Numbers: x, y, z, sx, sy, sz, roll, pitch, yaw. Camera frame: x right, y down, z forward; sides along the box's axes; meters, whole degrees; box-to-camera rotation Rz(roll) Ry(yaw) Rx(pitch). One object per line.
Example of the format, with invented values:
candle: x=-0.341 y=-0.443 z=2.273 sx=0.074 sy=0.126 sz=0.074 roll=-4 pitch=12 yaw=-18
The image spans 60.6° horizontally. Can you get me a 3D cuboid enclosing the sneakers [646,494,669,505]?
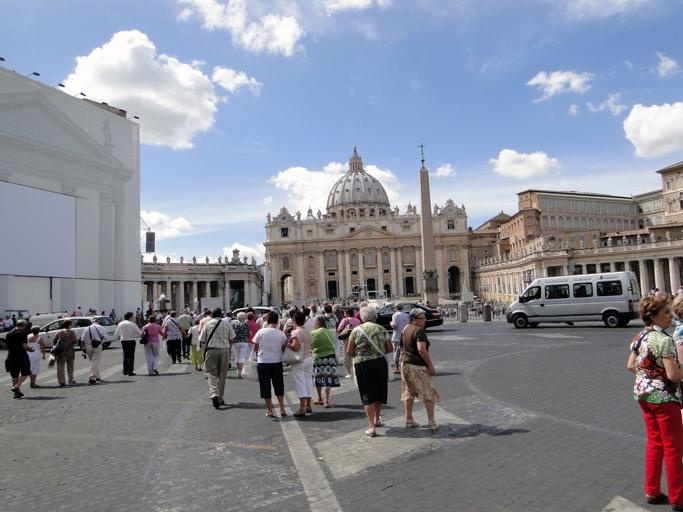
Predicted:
sneakers: x=3.984 y=3.097 z=7.458 sx=0.311 sy=0.133 sz=0.110 roll=-1 pitch=-3 yaw=-10

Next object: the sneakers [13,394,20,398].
sneakers: x=-7.958 y=3.463 z=14.348 sx=0.098 sy=0.050 sz=0.137 roll=4 pitch=-7 yaw=-23

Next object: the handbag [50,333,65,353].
handbag: x=-7.789 y=2.457 z=16.062 sx=0.182 sy=0.460 sz=0.325 roll=18 pitch=-14 yaw=-33

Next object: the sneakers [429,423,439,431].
sneakers: x=1.576 y=2.941 z=10.049 sx=0.150 sy=0.132 sz=0.108 roll=-4 pitch=-5 yaw=-10

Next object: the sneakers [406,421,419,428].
sneakers: x=1.240 y=2.988 z=10.350 sx=0.236 sy=0.100 sz=0.088 roll=1 pitch=-3 yaw=-15

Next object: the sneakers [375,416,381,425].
sneakers: x=0.669 y=2.986 z=10.565 sx=0.101 sy=0.165 sz=0.412 roll=-5 pitch=-5 yaw=5

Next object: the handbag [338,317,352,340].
handbag: x=0.069 y=1.770 z=14.282 sx=0.176 sy=0.460 sz=0.345 roll=33 pitch=-40 yaw=-27

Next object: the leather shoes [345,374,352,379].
leather shoes: x=0.187 y=3.355 z=16.192 sx=0.216 sy=0.151 sz=0.077 roll=-1 pitch=-2 yaw=40

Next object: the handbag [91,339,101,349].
handbag: x=-6.964 y=2.499 z=16.638 sx=0.272 sy=0.354 sz=0.194 roll=1 pitch=-11 yaw=-32

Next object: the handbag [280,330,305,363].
handbag: x=-0.983 y=1.869 z=11.821 sx=0.546 sy=0.705 sz=0.288 roll=-6 pitch=-31 yaw=12
